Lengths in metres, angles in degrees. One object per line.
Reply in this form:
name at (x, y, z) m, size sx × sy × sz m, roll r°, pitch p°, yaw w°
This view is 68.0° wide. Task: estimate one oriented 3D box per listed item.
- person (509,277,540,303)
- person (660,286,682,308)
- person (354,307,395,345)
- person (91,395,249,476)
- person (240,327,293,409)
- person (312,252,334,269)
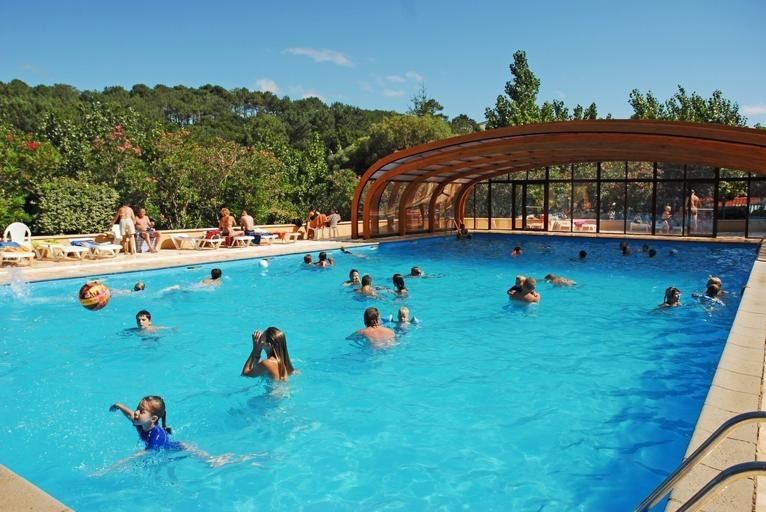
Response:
person at (3.512, 0.837, 14.261) m, size 0.758 × 0.631 × 0.544 m, roll 3°, pitch 11°, yaw 34°
person at (7.012, 0.965, 13.811) m, size 0.381 × 0.440 × 0.799 m, roll 3°, pitch 10°, yaw 34°
person at (-0.182, 1.434, 11.891) m, size 0.877 × 0.718 × 0.691 m, roll -4°, pitch 9°, yaw -3°
person at (-3.205, 2.574, 8.564) m, size 1.648 × 1.124 × 0.383 m, roll -3°, pitch 10°, yaw 2°
person at (-1.999, 1.846, 9.886) m, size 0.803 × 1.263 × 0.576 m, roll -6°, pitch 10°, yaw -15°
person at (-2.027, 0.112, 18.853) m, size 0.624 × 0.533 × 0.756 m, roll -3°, pitch 9°, yaw 3°
